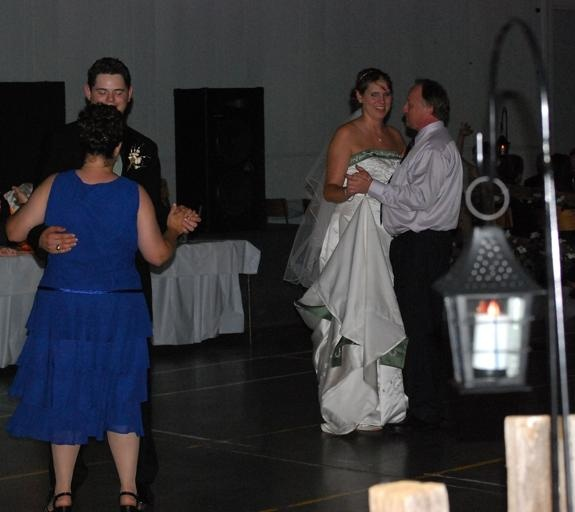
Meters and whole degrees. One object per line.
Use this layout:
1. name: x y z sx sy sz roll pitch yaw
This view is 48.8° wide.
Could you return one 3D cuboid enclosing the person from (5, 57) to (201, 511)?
1. person: -0.634 0.115 2.129 0.605 1.649 0.357 -1 1 -9
